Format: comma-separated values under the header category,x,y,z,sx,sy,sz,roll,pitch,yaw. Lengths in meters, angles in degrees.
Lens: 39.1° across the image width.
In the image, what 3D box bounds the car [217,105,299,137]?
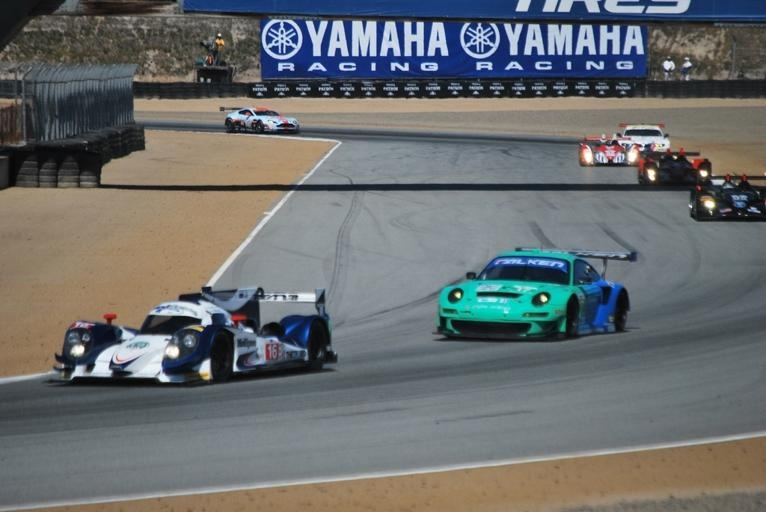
category,x,y,z,sx,sy,sz,roll,pitch,yaw
car,-5.772,-6.322,50.984,4.016,1.055,0.948,9,15,35
